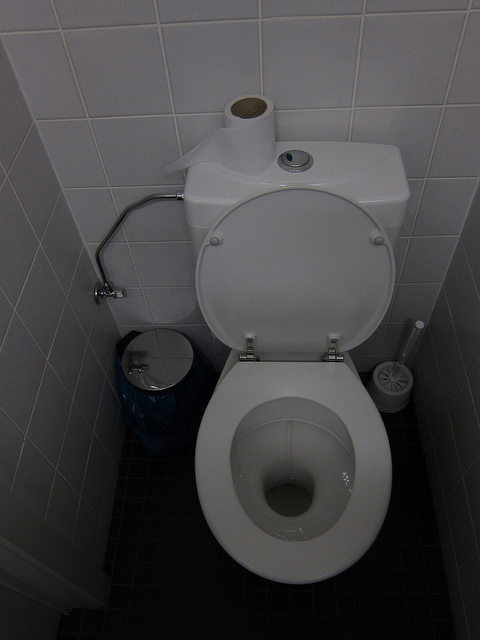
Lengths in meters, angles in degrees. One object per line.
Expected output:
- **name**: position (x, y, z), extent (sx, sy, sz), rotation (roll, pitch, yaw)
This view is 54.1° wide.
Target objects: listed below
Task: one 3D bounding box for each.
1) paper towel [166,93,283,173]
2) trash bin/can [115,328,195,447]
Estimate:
- **paper towel**: position (-0.011, -0.305, 0.824), extent (0.211, 0.113, 0.086), rotation (-27, 75, -2)
- **trash bin/can**: position (-0.214, 0.161, 1.429), extent (0.221, 0.305, 0.316), rotation (-8, 48, -7)
